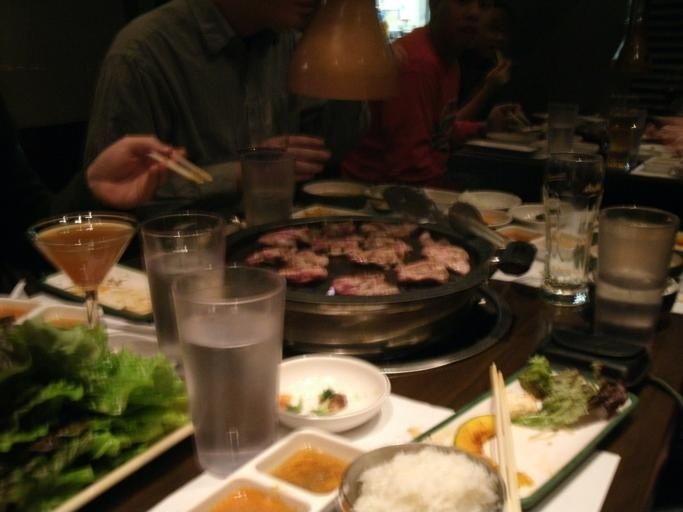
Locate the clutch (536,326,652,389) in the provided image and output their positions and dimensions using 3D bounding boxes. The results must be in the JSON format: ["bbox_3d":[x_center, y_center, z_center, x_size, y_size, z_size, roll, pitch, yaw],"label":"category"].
[{"bbox_3d":[0.649,0.243,1.438,0.199,0.059,0.166,14,24,26],"label":"clutch"}]

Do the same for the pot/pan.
[{"bbox_3d":[0.117,0.055,1.716,0.672,0.216,0.549,2,17,4],"label":"pot/pan"}]
